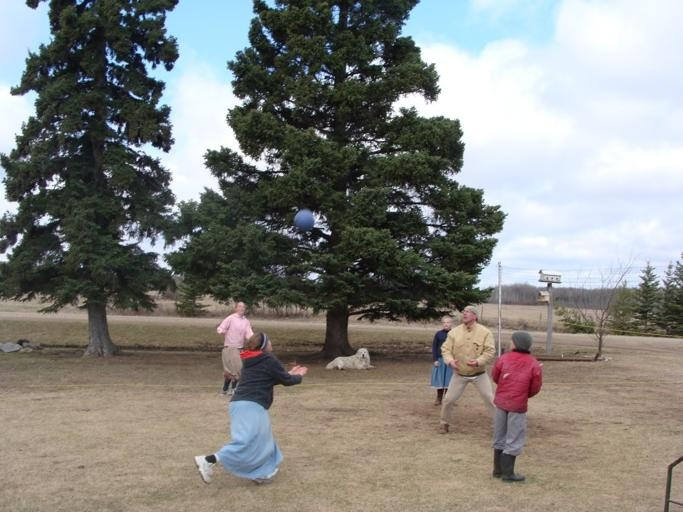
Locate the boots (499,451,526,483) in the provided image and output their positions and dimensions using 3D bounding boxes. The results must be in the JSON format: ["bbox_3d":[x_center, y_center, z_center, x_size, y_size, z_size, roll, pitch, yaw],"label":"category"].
[{"bbox_3d":[3.152,3.829,11.696,0.573,0.527,0.315,0,-1,-22],"label":"boots"}]

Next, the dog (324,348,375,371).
[{"bbox_3d":[0.240,3.748,23.328,1.250,0.527,0.819,-3,-10,5],"label":"dog"}]

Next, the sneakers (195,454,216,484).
[{"bbox_3d":[-2.351,3.676,11.159,0.267,0.404,0.257,0,0,-10],"label":"sneakers"}]

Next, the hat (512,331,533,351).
[{"bbox_3d":[3.263,1.535,11.850,0.330,0.293,0.382,-1,21,-6],"label":"hat"}]

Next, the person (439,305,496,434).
[{"bbox_3d":[2.603,2.424,13.643,1.137,2.752,0.723,0,0,14],"label":"person"}]
